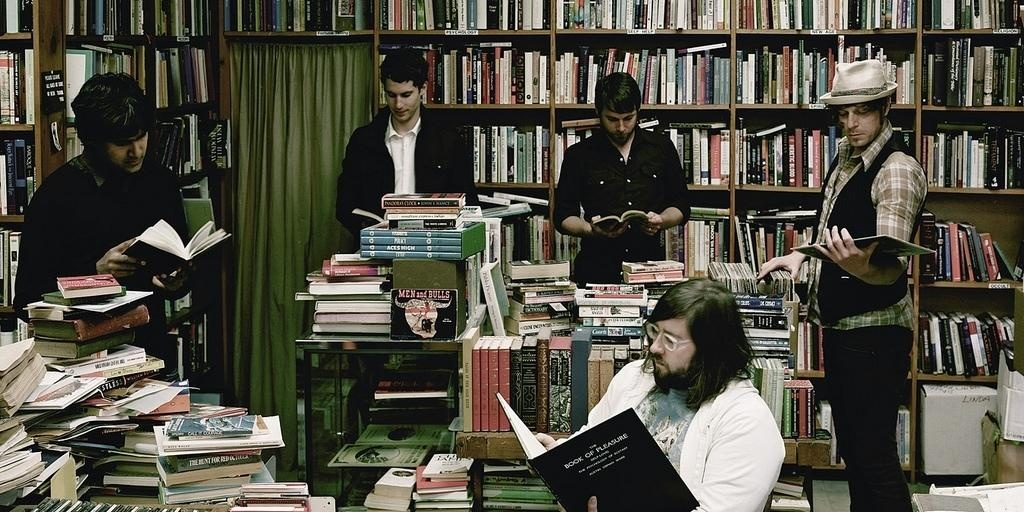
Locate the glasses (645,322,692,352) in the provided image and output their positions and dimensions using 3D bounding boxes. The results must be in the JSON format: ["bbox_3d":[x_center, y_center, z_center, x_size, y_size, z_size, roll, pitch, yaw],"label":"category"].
[{"bbox_3d":[0.865,0.448,5.632,0.180,0.057,0.192,5,5,30],"label":"glasses"}]

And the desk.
[{"bbox_3d":[0.788,1.345,6.360,2.282,0.515,0.397,0,5,-1],"label":"desk"}]

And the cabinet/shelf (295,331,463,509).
[{"bbox_3d":[-0.935,1.076,7.422,1.750,1.208,0.933,1,3,-6],"label":"cabinet/shelf"}]

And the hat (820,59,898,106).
[{"bbox_3d":[2.243,-1.116,6.482,0.350,0.154,0.422,-7,12,30],"label":"hat"}]
